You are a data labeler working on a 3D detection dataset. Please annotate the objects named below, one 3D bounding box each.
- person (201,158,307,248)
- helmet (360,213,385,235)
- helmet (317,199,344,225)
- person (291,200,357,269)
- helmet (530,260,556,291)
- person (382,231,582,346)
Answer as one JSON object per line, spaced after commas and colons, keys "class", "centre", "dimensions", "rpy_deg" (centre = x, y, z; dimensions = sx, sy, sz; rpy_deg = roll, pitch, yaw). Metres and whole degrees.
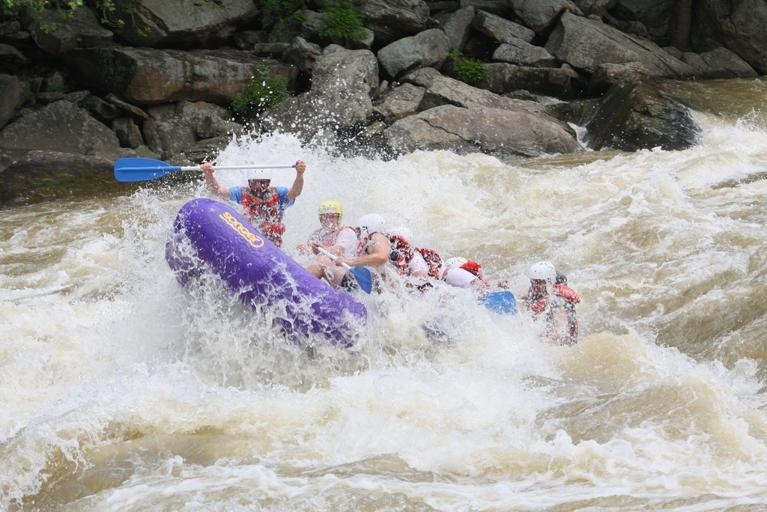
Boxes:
{"class": "person", "centre": [-2.180, -0.872, 17.547], "dimensions": [1.475, 2.268, 0.789], "rpy_deg": [-7, 8, -11]}
{"class": "helmet", "centre": [-0.185, -0.532, 16.644], "dimensions": [0.385, 0.286, 0.274], "rpy_deg": [-5, 16, 37]}
{"class": "helmet", "centre": [-0.881, -0.776, 17.477], "dimensions": [0.349, 0.406, 0.334], "rpy_deg": [0, 69, 3]}
{"class": "person", "centre": [-0.948, -0.430, 17.010], "dimensions": [0.870, 1.046, 1.127], "rpy_deg": [-3, -3, 20]}
{"class": "helmet", "centre": [2.485, 0.290, 16.220], "dimensions": [0.466, 0.435, 0.360], "rpy_deg": [9, 12, 3]}
{"class": "person", "centre": [1.613, 0.583, 16.718], "dimensions": [2.257, 0.567, 0.963], "rpy_deg": [29, 69, 10]}
